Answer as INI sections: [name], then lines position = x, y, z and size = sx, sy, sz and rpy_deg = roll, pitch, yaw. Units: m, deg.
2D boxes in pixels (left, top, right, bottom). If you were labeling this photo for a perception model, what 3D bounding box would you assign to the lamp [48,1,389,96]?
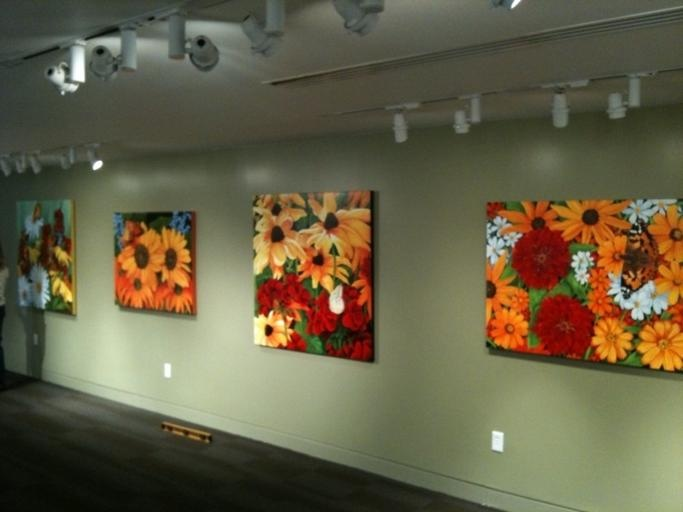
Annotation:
[lamp]
position = -0.766, -1.078, 2.961
size = 2.075, 0.297, 0.414
rpy_deg = 5, 12, 32
